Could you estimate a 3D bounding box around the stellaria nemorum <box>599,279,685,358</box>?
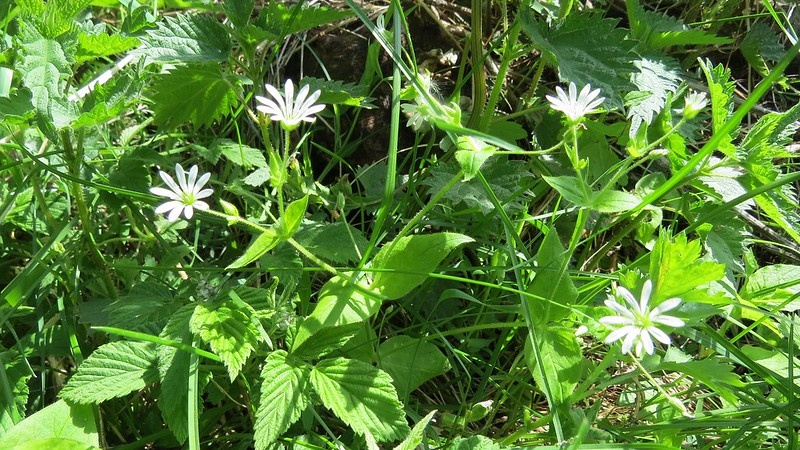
[{"bbox_3d":[0.798,0.310,2.180,0.241,0.240,0.114,0,77,-52],"label":"stellaria nemorum"}]
